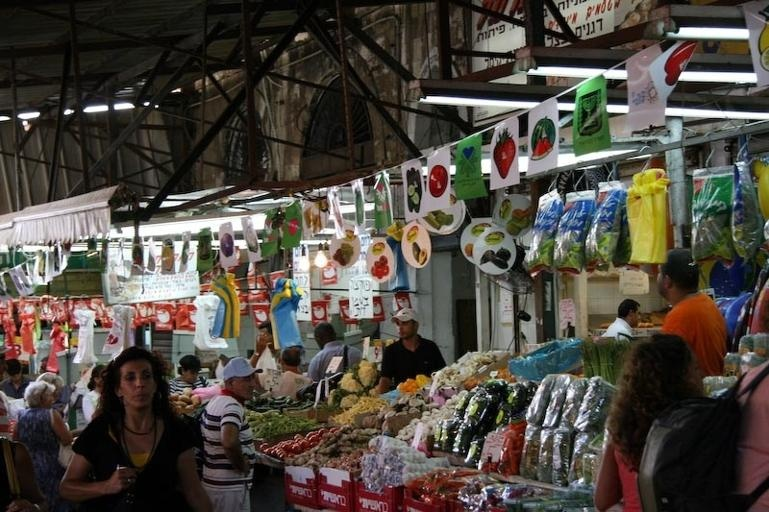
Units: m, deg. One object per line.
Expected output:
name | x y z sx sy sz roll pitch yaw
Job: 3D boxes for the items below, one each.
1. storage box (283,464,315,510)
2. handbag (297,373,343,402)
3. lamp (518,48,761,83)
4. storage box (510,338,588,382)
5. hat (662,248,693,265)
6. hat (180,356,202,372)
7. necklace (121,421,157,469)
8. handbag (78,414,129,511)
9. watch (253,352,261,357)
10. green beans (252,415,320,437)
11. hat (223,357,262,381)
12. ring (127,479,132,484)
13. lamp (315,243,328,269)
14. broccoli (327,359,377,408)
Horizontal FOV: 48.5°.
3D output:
storage box | -0.779 2.160 7.954 0.281 0.392 0.450 1 -2 -41
handbag | -0.776 1.639 10.490 0.351 0.216 0.503 -2 -1 26
lamp | 1.915 -1.668 7.404 2.008 0.371 0.139 10 5 44
storage box | 1.420 0.888 7.250 0.392 0.192 0.446 -22 -6 36
hat | 2.333 0.003 6.750 0.120 0.094 0.155 -3 -1 -22
hat | -2.591 1.430 11.388 0.186 0.254 0.246 1 2 -7
necklace | -1.812 1.434 6.425 0.162 0.332 0.055 1 -18 -8
handbag | -2.095 1.557 6.385 0.514 0.708 0.190 -5 -5 33
watch | -1.860 1.458 12.509 0.062 0.065 0.060 -5 -1 2
green beans | -1.146 1.874 9.398 0.323 0.179 0.344 -3 -7 27
hat | -1.331 1.087 7.959 0.292 0.169 0.215 -14 -2 14
ring | -1.870 1.668 6.294 0.044 0.050 0.008 0 -5 -34
lamp | -0.836 -0.022 11.368 0.153 0.299 0.346 -2 -4 -4
broccoli | -0.377 1.520 9.837 0.245 0.447 0.576 27 -67 -42
